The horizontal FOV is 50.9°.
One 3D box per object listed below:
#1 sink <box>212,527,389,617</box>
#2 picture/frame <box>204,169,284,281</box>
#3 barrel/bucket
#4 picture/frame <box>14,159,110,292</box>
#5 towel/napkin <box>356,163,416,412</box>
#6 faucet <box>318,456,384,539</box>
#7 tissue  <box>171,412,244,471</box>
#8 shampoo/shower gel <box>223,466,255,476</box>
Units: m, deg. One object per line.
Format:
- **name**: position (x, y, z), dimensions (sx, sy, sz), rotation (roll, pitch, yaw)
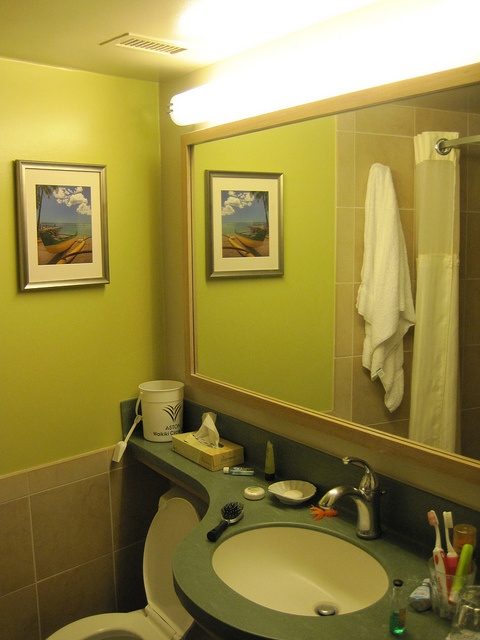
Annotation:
- **sink**: position (0.147, 0.590, 1.189), dimensions (0.391, 0.133, 0.188), rotation (-1, 6, 19)
- **picture/frame**: position (0.021, -0.316, 1.637), dimensions (0.028, 0.415, 0.348), rotation (-5, 8, -44)
- **barrel/bucket**: position (-0.311, 0.360, 1.982), dimensions (0.177, 0.208, 0.195), rotation (-2, 1, -15)
- **picture/frame**: position (-0.638, -0.341, 1.776), dimensions (0.439, 0.612, 0.037), rotation (-4, 9, -43)
- **towel/napkin**: position (0.332, -0.075, 1.170), dimensions (0.036, 0.571, 0.174), rotation (-5, 6, -20)
- **faucet**: position (0.266, 0.412, 1.150), dimensions (0.155, 0.201, 0.055), rotation (-8, 8, -44)
- **tissue **: position (-0.123, 0.401, 1.759), dimensions (0.132, 0.162, 0.254), rotation (2, 4, -44)
- **shampoo/shower gel**: position (-0.004, 0.474, 1.582), dimensions (0.061, 0.016, 0.037), rotation (1, 1, 2)
